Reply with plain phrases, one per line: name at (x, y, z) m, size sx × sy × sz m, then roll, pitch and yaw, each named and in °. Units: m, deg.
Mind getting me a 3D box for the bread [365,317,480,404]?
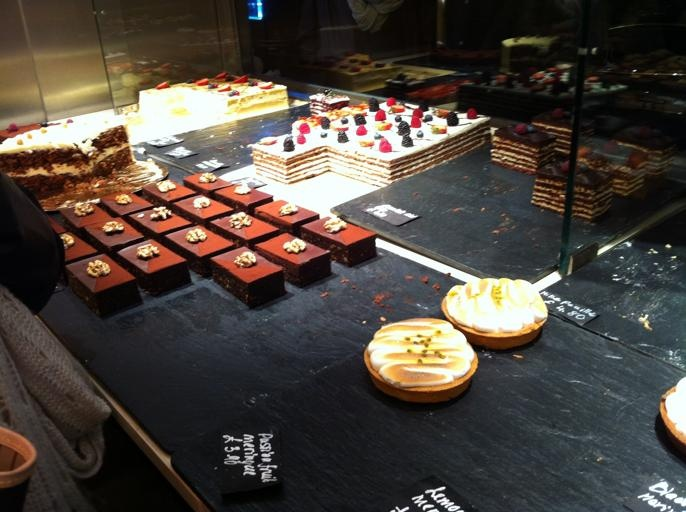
bread at (0.361, 0.493, 2.529) m, size 0.538 × 0.115 × 0.406 m, roll -12°, pitch 28°, yaw -17°
